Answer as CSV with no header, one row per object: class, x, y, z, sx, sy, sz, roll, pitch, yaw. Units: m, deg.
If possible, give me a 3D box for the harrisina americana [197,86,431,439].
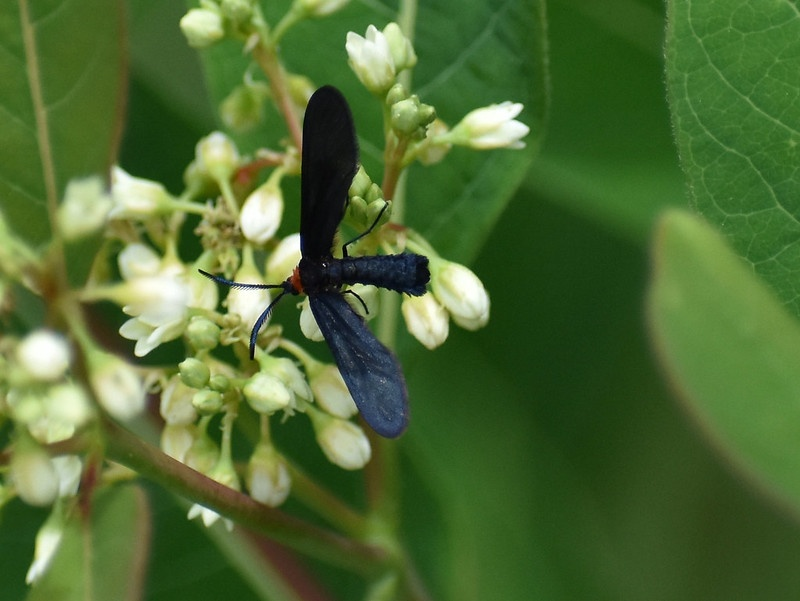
harrisina americana,-0.086,-0.044,1.203,0.213,0.408,0.424,5,70,-14
